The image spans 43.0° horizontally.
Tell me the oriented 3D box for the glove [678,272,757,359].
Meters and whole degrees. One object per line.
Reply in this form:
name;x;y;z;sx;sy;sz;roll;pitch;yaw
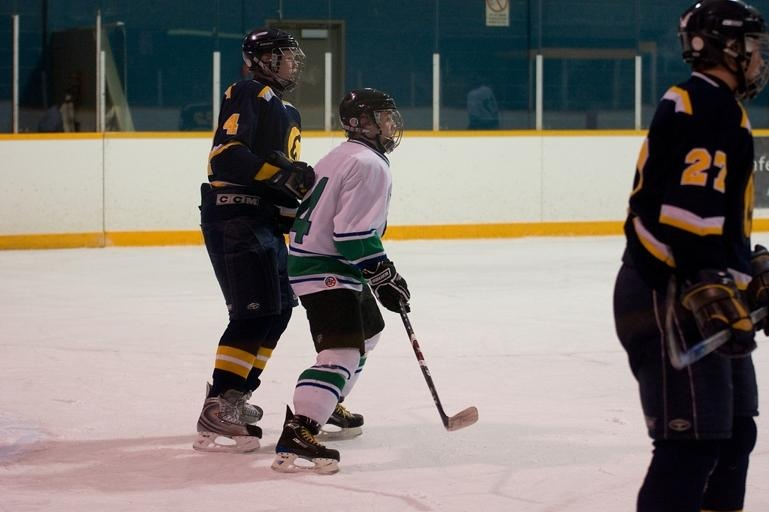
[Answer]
glove;1.141;0.195;3.337;0.219;0.137;0.325;-15;50;-14

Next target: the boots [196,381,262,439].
boots;-0.676;0.714;4.499;0.388;0.202;0.126;5;-1;24

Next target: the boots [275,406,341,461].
boots;-0.308;0.771;4.225;0.325;0.255;0.110;1;-17;27

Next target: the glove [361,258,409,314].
glove;0.003;0.132;4.288;0.159;0.271;0.079;-30;30;34

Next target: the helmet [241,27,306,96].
helmet;-0.546;-0.948;4.764;0.318;0.270;0.246;1;3;-16

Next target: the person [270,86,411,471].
person;-0.194;0.071;4.392;0.594;1.599;0.774;-1;12;1

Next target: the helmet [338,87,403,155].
helmet;-0.065;-0.611;4.564;0.322;0.269;0.231;3;0;3

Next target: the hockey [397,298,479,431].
hockey;0.206;0.456;4.661;0.178;0.034;0.964;-19;40;-7

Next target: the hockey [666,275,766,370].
hockey;1.092;0.227;3.354;0.083;0.316;0.307;28;68;41
